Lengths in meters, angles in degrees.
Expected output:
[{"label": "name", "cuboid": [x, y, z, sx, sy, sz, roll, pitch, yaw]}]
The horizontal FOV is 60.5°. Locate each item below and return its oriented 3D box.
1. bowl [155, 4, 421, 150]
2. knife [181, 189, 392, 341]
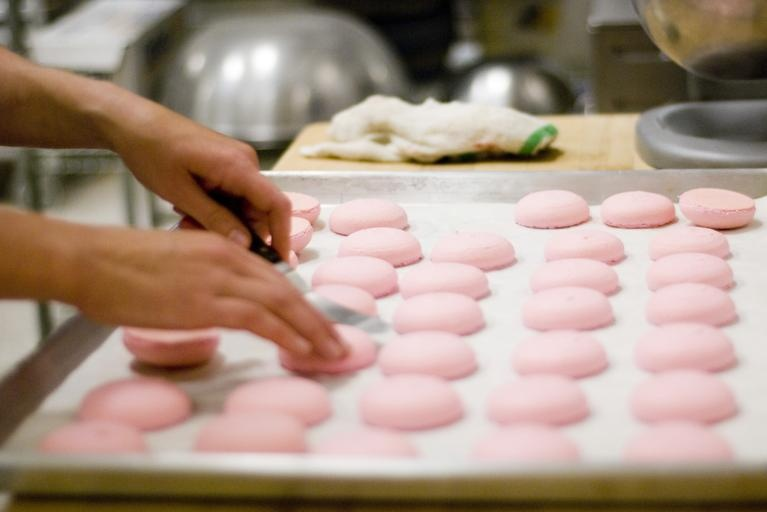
[{"label": "bowl", "cuboid": [-0.256, -0.480, 1.793, 0.456, 0.209, 0.455, 2, 7, 0]}, {"label": "knife", "cuboid": [-0.155, 0.019, 1.050, 0.341, 0.049, 0.081, 41, 27, 12]}]
